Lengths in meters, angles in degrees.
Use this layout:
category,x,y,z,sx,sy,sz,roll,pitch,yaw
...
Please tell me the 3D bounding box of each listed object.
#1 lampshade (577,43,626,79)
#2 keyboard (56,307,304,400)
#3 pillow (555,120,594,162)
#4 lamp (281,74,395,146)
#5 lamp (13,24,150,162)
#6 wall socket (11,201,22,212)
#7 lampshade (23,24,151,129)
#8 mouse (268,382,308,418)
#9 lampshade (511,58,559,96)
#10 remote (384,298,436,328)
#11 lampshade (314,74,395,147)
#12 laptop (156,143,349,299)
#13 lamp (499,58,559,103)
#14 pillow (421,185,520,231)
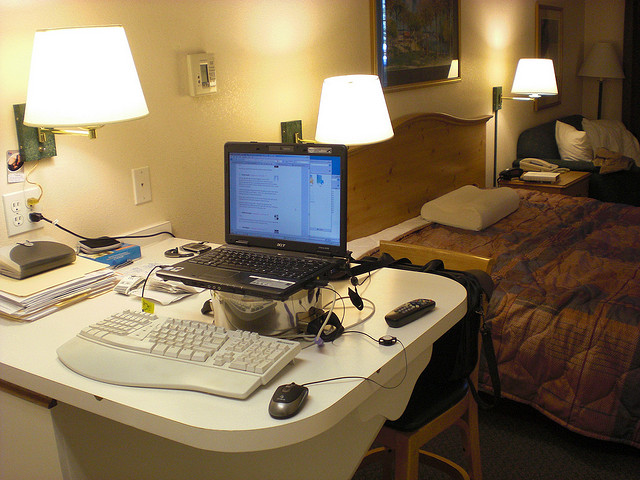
category,x,y,z,sx,sy,sz,roll,pitch,yaw
lampshade,3.156,-1.983,5.519,0.445,0.281,0.409,15,22,36
keyboard,-0.373,0.285,1.212,0.587,0.084,0.256,3,19,23
pillow,2.451,-0.953,4.805,0.393,0.350,0.316,12,25,41
lamp,0.085,-0.581,2.442,0.634,0.372,0.415,6,14,39
lamp,-0.878,-0.496,1.778,0.518,0.466,0.398,11,21,23
wall socket,-1.107,-0.124,1.790,0.006,0.040,0.042,-2,4,33
lampshade,-0.807,-0.538,1.685,0.434,0.332,0.257,-3,16,-5
mouse,-0.072,0.341,1.075,0.068,0.041,0.121,3,9,16
lampshade,1.810,-1.360,4.127,0.354,0.233,0.340,3,24,16
remote,0.250,0.198,1.370,0.165,0.042,0.058,-19,22,-40
lampshade,0.169,-0.575,2.369,0.401,0.286,0.394,4,22,29
laptop,-0.196,-0.074,1.378,0.540,0.349,0.451,0,18,12
lamp,1.808,-1.354,4.300,0.515,0.431,0.370,8,21,26
pillow,1.049,-0.237,3.406,0.403,0.187,0.651,11,24,41
